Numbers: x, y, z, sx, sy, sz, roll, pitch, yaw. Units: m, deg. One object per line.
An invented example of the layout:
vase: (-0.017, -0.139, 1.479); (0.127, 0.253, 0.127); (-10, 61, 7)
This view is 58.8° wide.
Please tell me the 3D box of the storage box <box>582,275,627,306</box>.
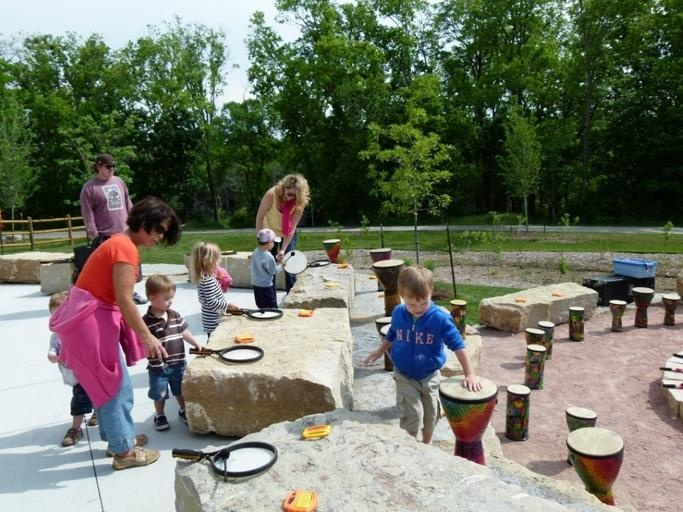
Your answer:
storage box: (4.896, 0.569, 11.182); (0.567, 0.383, 0.562); (-7, 8, -14)

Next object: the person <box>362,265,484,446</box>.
person: (0.801, 1.015, 6.150); (1.007, 1.844, 0.450); (-1, 5, 12)

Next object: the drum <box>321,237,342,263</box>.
drum: (-0.139, -0.120, 12.009); (0.421, 0.475, 0.404); (-10, 15, -32)

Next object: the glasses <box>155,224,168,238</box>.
glasses: (-1.762, -0.236, 5.947); (0.105, 0.104, 0.096); (-12, 28, -11)

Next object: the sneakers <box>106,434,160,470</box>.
sneakers: (-2.086, 1.999, 6.080); (0.436, 0.203, 0.241); (-16, 32, -28)

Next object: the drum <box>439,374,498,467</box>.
drum: (1.228, 1.613, 5.899); (0.548, 0.892, 0.534); (-2, 21, 1)

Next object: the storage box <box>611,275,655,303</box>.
storage box: (5.382, 0.506, 11.104); (0.425, 0.532, 0.786); (-9, 9, -38)

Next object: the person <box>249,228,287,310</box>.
person: (-1.036, 0.168, 8.232); (0.347, 1.056, 0.241); (-2, 5, -7)

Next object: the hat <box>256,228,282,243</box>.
hat: (-0.990, -0.261, 8.278); (0.168, 0.133, 0.264); (18, 19, 34)

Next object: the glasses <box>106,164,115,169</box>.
glasses: (-3.308, -1.279, 8.681); (0.090, 0.099, 0.030); (-2, 10, -38)

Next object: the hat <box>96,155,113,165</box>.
hat: (-3.366, -1.355, 8.606); (0.244, 0.194, 0.181); (-3, 4, -23)

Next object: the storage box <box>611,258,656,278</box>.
storage box: (5.371, 0.215, 11.150); (0.399, 0.271, 0.569); (0, 7, -23)
